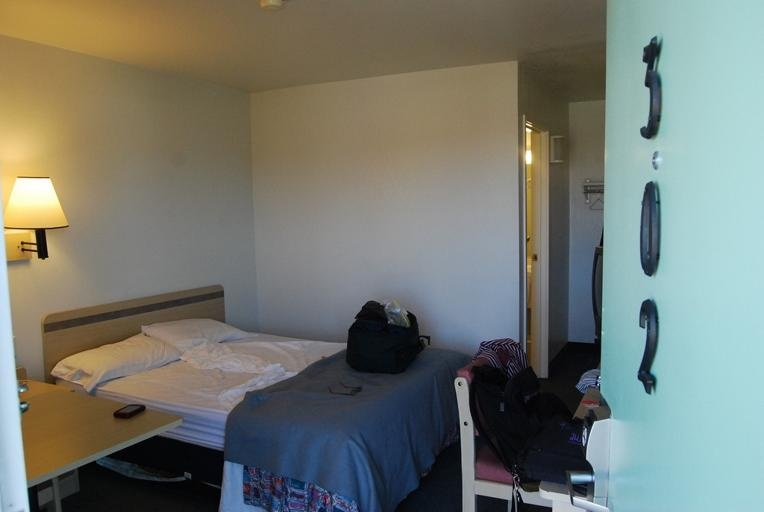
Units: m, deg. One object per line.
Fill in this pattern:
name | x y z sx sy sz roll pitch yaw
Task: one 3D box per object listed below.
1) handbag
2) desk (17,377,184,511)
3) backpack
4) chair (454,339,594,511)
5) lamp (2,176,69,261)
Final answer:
handbag | 0.029 0.490 3.841 0.440 0.443 0.650 11 16 23
desk | -1.371 0.943 2.834 0.934 0.229 0.637 5 13 27
backpack | 0.630 0.782 2.600 0.480 0.458 0.775 3 4 9
chair | 0.746 0.825 3.016 0.687 1.004 0.674 -1 1 21
lamp | -2.181 -0.235 3.603 0.328 0.530 0.254 -1 6 -34
